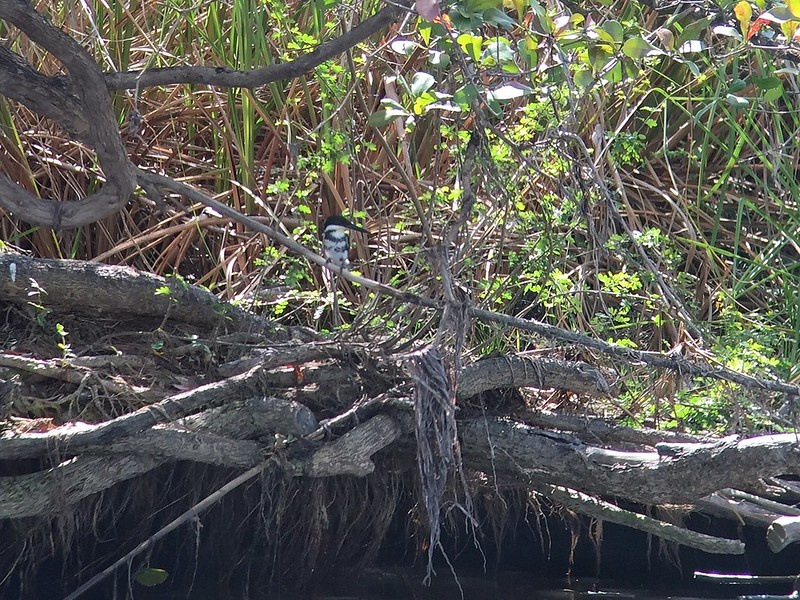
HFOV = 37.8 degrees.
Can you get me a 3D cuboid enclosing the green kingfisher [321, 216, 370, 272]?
[{"bbox_3d":[-0.367,-0.386,7.307,0.372,0.270,0.155,-3,7,-25],"label":"green kingfisher"}]
